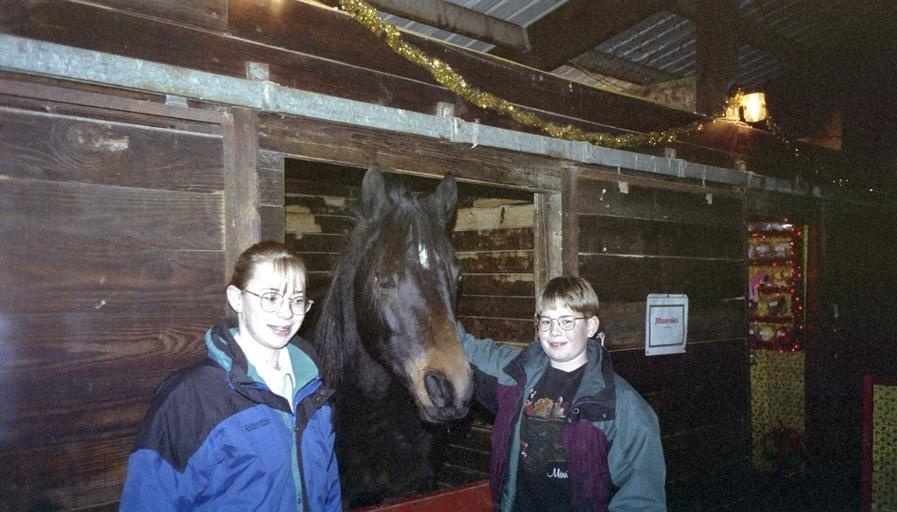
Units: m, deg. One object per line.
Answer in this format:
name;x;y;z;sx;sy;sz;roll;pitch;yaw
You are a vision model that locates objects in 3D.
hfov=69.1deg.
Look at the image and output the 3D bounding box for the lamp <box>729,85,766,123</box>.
lamp;3.342;-1.742;7.486;0.461;0.405;0.466;-7;12;-25
